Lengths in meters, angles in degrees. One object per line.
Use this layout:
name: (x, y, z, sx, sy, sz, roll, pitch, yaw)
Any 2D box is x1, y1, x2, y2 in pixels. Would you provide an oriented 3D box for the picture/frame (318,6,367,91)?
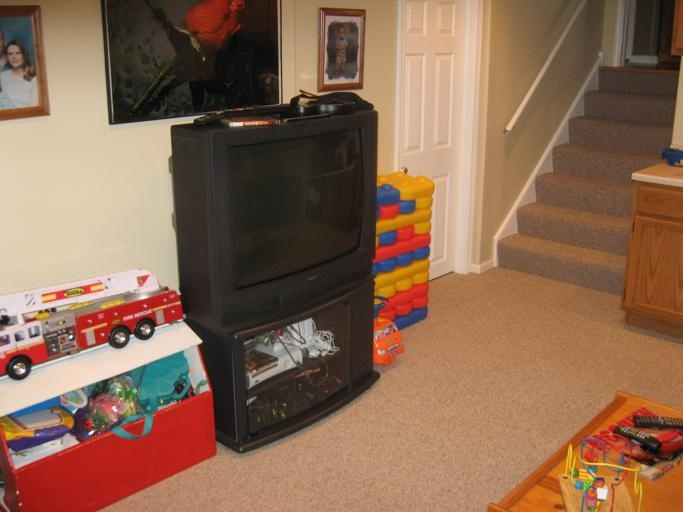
picture/frame: (-0.012, -1.386, 3.636, 0.482, 0.565, 0.042, -19, 28, -40)

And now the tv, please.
tv: (-0.377, -0.211, 2.805, 0.507, 0.934, 0.998, 15, 26, 40)

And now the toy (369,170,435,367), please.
toy: (0.386, 0.013, 3.968, 0.327, 1.058, 0.734, 12, 27, 33)

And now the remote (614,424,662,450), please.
remote: (1.149, 0.688, 2.157, 0.050, 0.040, 0.169, -17, 14, -19)
